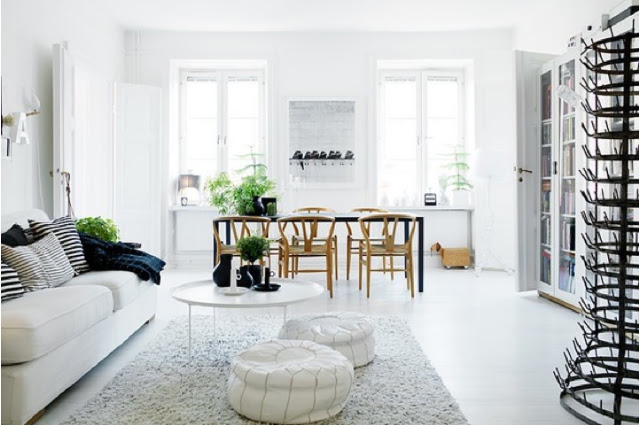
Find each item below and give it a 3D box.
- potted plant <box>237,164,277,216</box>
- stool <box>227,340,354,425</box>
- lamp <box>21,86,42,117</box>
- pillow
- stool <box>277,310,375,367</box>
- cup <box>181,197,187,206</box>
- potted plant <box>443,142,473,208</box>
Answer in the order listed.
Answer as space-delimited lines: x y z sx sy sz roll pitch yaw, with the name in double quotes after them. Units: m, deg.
-0.960 -0.258 6.322 0.428 0.530 0.380 -14 -9 -28 "potted plant"
-0.216 1.220 3.236 0.895 0.416 0.442 -1 9 -9 "stool"
-3.114 -1.210 4.803 0.224 0.333 0.110 -10 -10 2 "lamp"
-2.435 0.387 3.843 0.212 0.534 0.710 -19 5 7 "pillow"
0.095 1.016 3.757 0.493 0.197 0.496 -2 -1 32 "stool"
-2.284 -0.193 7.587 0.106 0.144 0.155 -3 9 -18 "cup"
2.342 -0.656 7.661 0.532 1.040 0.432 3 9 15 "potted plant"
